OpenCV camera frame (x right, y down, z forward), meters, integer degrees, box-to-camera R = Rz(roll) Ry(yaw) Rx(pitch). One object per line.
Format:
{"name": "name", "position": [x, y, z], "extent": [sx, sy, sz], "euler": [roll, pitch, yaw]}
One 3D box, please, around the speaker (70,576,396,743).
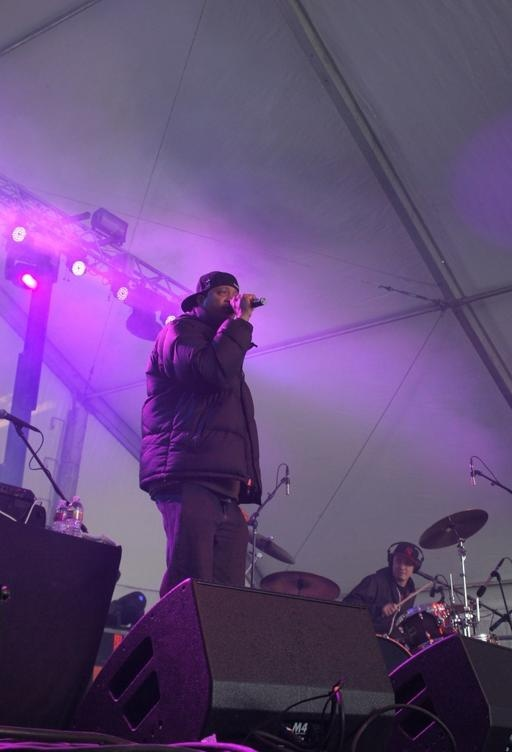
{"name": "speaker", "position": [-0.021, 0.546, 1.256], "extent": [0.437, 0.266, 0.458], "euler": [17, -25, -30]}

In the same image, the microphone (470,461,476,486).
{"name": "microphone", "position": [1.607, 0.704, 4.948], "extent": [0.039, 0.173, 0.175], "euler": [-2, -23, 18]}

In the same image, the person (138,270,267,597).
{"name": "person", "position": [-0.151, 0.106, 2.295], "extent": [0.429, 1.268, 0.550], "euler": [12, -24, -15]}

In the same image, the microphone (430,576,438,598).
{"name": "microphone", "position": [1.302, 1.544, 4.858], "extent": [0.057, 0.143, 0.183], "euler": [0, -22, 14]}

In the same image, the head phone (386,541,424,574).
{"name": "head phone", "position": [1.137, 1.334, 5.036], "extent": [0.200, 0.163, 0.234], "euler": [14, -60, 18]}

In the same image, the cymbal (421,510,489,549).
{"name": "cymbal", "position": [1.471, 1.140, 4.935], "extent": [0.499, 0.279, 0.323], "euler": [2, -22, 7]}
